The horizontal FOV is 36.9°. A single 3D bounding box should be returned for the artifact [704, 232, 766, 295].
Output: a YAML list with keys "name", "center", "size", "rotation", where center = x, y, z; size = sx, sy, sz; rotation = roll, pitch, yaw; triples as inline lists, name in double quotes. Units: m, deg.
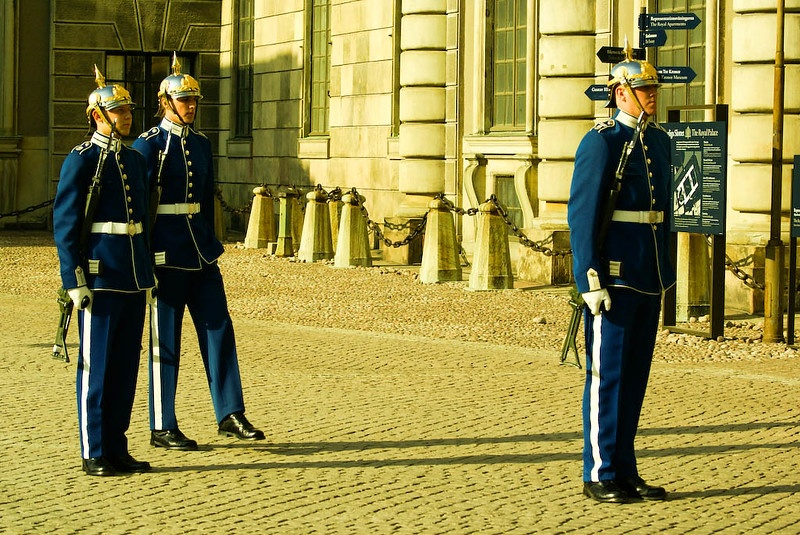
- name: "artifact"
  center: [3.897, -0.067, 14.010]
  size: [0.663, 0.744, 1.349]
  rotation: [3, 7, 15]

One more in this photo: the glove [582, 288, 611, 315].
- name: "glove"
  center: [1.285, 0.209, 7.776]
  size: [0.152, 0.183, 0.079]
  rotation: [-7, -3, 16]

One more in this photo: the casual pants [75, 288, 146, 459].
- name: "casual pants"
  center: [-1.995, 0.722, 8.322]
  size: [0.459, 1.118, 0.374]
  rotation: [-1, 7, -12]

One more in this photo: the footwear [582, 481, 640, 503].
- name: "footwear"
  center: [1.352, 1.445, 7.795]
  size: [0.278, 0.113, 0.141]
  rotation: [-1, 4, 32]

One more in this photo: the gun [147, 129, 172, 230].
- name: "gun"
  center: [-1.790, -0.601, 8.878]
  size: [0.070, 0.862, 0.189]
  rotation: [12, 5, -16]

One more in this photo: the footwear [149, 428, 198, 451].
- name: "footwear"
  center: [-1.650, 1.253, 8.783]
  size: [0.329, 0.124, 0.147]
  rotation: [0, 1, 23]

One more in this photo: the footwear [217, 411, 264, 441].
- name: "footwear"
  center: [-1.180, 1.176, 8.966]
  size: [0.390, 0.158, 0.155]
  rotation: [1, 4, 36]

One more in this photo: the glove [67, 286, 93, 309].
- name: "glove"
  center: [-2.186, 0.195, 8.260]
  size: [0.138, 0.171, 0.071]
  rotation: [1, 19, 4]

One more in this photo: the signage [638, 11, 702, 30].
- name: "signage"
  center: [3.084, -2.846, 13.800]
  size: [0.642, 0.206, 0.751]
  rotation: [2, 7, 11]

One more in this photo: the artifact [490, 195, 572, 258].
- name: "artifact"
  center: [1.794, -0.461, 16.845]
  size: [0.261, 0.377, 2.323]
  rotation: [-14, -15, 20]

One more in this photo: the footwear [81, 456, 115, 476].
- name: "footwear"
  center: [-2.049, 1.355, 8.165]
  size: [0.236, 0.092, 0.096]
  rotation: [-1, 1, 38]

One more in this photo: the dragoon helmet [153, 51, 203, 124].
- name: "dragoon helmet"
  center: [-1.668, -1.352, 9.062]
  size: [0.409, 0.488, 0.397]
  rotation: [-3, 2, 22]

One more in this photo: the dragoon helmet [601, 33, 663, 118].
- name: "dragoon helmet"
  center: [1.562, -1.297, 8.261]
  size: [0.516, 0.588, 0.453]
  rotation: [3, 7, 25]

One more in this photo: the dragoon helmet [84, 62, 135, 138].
- name: "dragoon helmet"
  center: [-2.065, -1.203, 8.515]
  size: [0.403, 0.458, 0.329]
  rotation: [-3, 11, 44]
